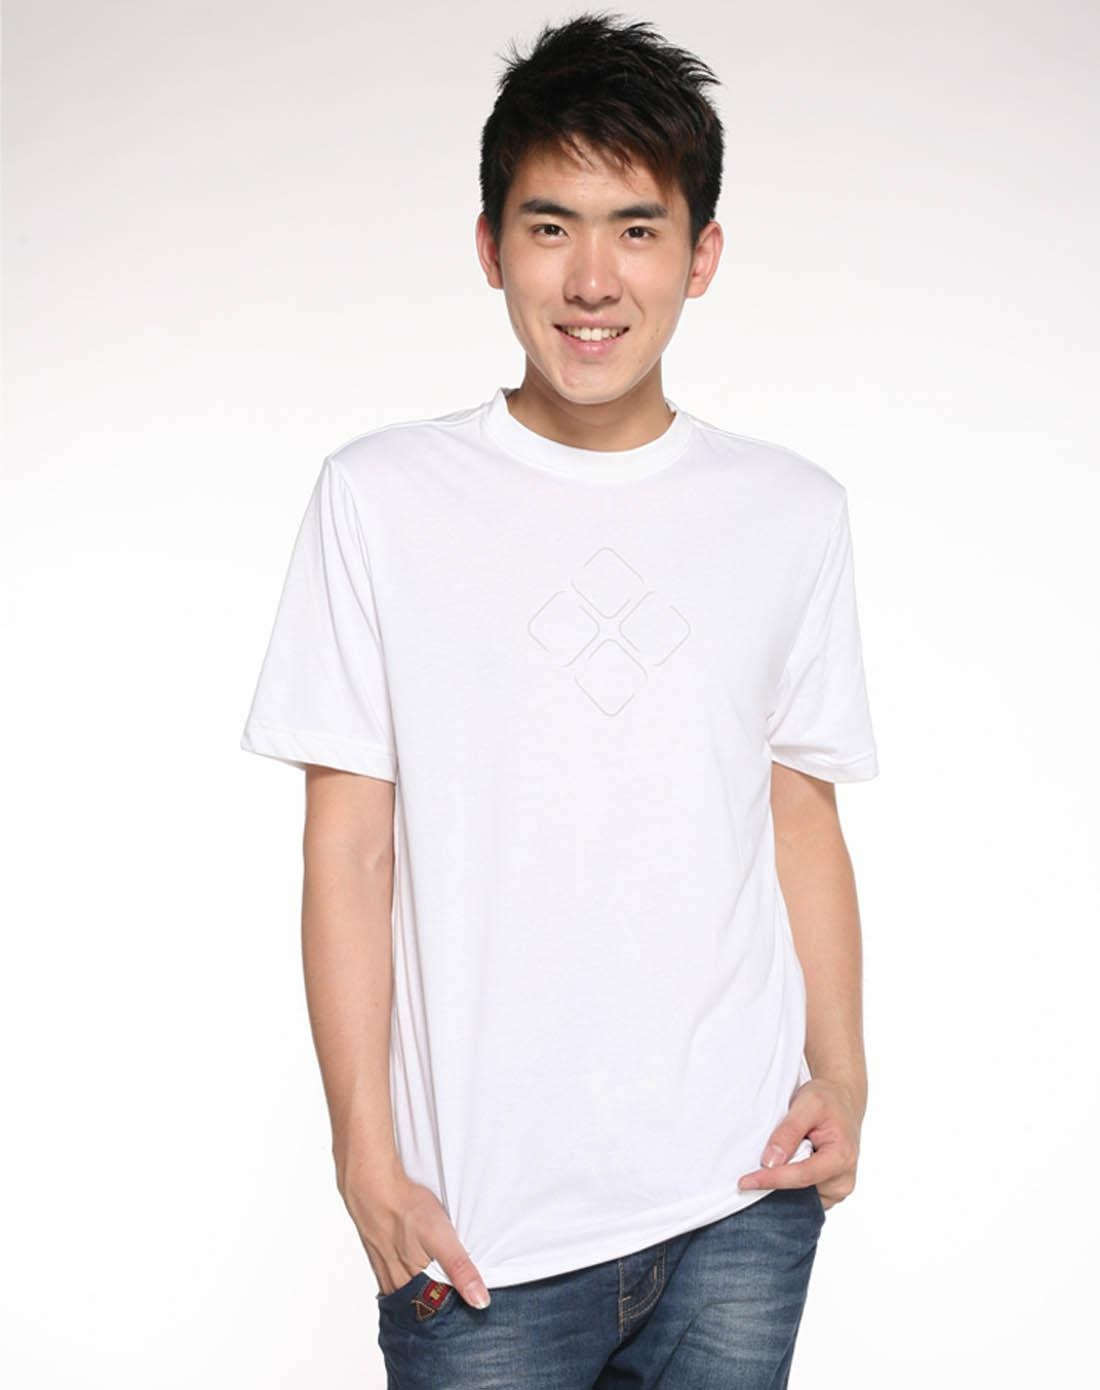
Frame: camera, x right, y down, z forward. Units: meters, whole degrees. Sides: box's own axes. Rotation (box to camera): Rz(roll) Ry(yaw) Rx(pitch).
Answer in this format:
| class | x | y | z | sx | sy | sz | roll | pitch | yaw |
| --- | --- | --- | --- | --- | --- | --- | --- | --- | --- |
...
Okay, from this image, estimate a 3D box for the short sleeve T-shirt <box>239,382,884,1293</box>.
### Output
| class | x | y | z | sx | sy | sz | roll | pitch | yaw |
| --- | --- | --- | --- | --- | --- | --- | --- | --- | --- |
| short sleeve T-shirt | 0.063 | 0.080 | 1.241 | 0.577 | 0.680 | 0.355 | -12 | 17 | -27 |
